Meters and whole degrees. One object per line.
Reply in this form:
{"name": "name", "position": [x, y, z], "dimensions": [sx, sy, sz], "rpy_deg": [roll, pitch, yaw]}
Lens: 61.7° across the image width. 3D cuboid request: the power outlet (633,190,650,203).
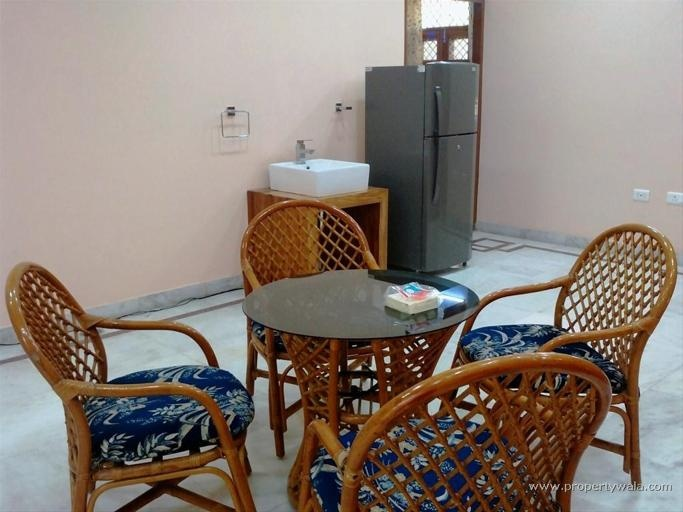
{"name": "power outlet", "position": [2.749, -0.551, 5.226], "dimensions": [0.015, 0.080, 0.108], "rpy_deg": [-10, 16, -29]}
